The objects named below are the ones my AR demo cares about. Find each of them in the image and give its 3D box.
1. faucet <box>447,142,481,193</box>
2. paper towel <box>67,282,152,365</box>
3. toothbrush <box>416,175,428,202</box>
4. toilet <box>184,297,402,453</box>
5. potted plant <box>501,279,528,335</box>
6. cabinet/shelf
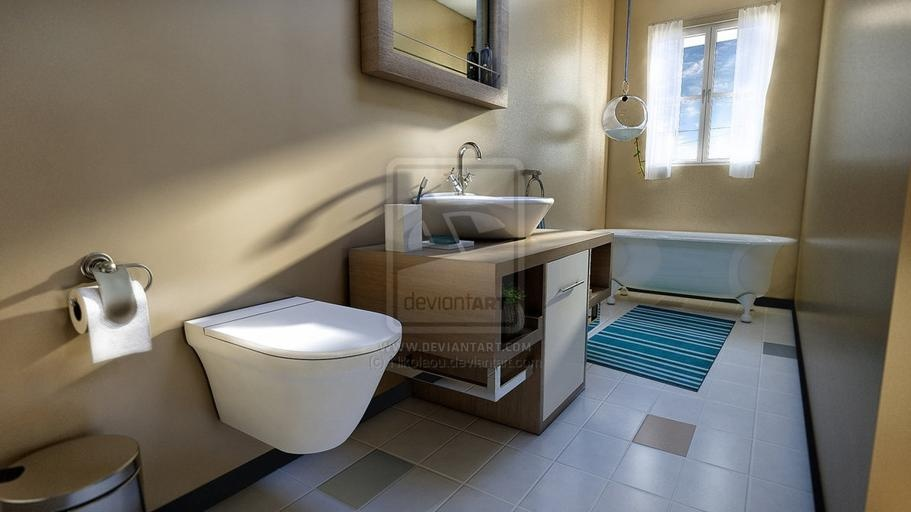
[{"bbox_3d":[0.089,-0.565,3.393,0.199,0.321,0.480,5,16,23],"label":"faucet"},{"bbox_3d":[-1.477,0.279,2.239,0.258,0.389,0.311,10,14,39],"label":"paper towel"},{"bbox_3d":[-0.195,-0.397,3.110,0.029,0.193,0.058,8,-1,-1],"label":"toothbrush"},{"bbox_3d":[-0.721,0.471,2.517,0.889,0.494,0.671,6,10,27],"label":"toilet"},{"bbox_3d":[0.326,0.289,2.832,0.205,0.245,0.103,-14,20,-38],"label":"potted plant"},{"bbox_3d":[0.545,0.456,2.983,0.400,0.865,1.125,3,8,30],"label":"cabinet/shelf"}]
